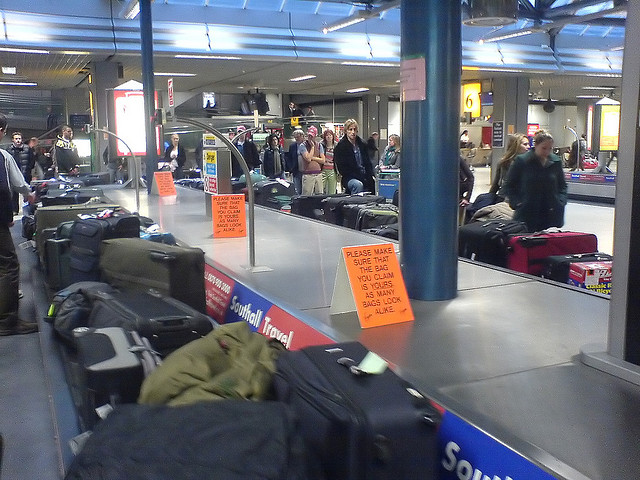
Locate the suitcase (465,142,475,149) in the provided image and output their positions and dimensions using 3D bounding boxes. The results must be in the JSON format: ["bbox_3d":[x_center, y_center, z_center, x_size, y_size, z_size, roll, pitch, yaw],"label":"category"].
[{"bbox_3d":[6.361,-3.995,18.984,0.358,0.265,1.960,1,12,17],"label":"suitcase"}]

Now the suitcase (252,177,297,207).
[{"bbox_3d":[-0.758,-0.885,7.038,0.701,0.534,0.382,-4,6,-33],"label":"suitcase"}]

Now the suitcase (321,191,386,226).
[{"bbox_3d":[0.393,-0.405,5.163,0.533,0.207,0.408,-6,12,-29],"label":"suitcase"}]

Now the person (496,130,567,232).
[{"bbox_3d":[1.994,-0.545,4.140,0.559,0.905,0.249,1,11,18],"label":"person"}]

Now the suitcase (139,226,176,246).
[{"bbox_3d":[-1.311,-0.033,3.600,0.193,0.207,0.110,2,12,-1],"label":"suitcase"}]

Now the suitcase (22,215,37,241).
[{"bbox_3d":[-4.034,-0.165,6.216,0.208,0.348,0.357,2,2,-33],"label":"suitcase"}]

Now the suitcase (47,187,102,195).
[{"bbox_3d":[-3.377,-0.644,5.840,0.329,0.101,0.368,2,5,18],"label":"suitcase"}]

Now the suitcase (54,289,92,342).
[{"bbox_3d":[-1.479,0.437,2.687,0.106,0.307,0.226,14,-7,-41],"label":"suitcase"}]

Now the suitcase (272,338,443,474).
[{"bbox_3d":[0.081,0.484,1.308,0.388,0.238,0.487,-5,11,-13],"label":"suitcase"}]

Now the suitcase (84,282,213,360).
[{"bbox_3d":[-0.795,0.448,2.522,0.402,0.233,0.689,-3,6,-12],"label":"suitcase"}]

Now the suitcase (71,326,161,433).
[{"bbox_3d":[-0.771,0.519,1.701,0.213,0.404,0.290,-1,34,-27],"label":"suitcase"}]

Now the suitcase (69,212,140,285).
[{"bbox_3d":[-1.783,0.111,3.629,0.396,0.635,0.494,11,13,-4],"label":"suitcase"}]

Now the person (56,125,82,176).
[{"bbox_3d":[-5.882,-2.082,10.419,0.472,1.108,2.683,-8,12,-28],"label":"person"}]

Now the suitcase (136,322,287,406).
[{"bbox_3d":[-0.416,0.492,1.754,0.527,0.189,0.416,-29,-16,15],"label":"suitcase"}]

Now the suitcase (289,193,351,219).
[{"bbox_3d":[0.001,-0.456,5.809,0.595,0.226,0.353,-4,8,-16],"label":"suitcase"}]

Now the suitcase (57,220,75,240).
[{"bbox_3d":[-2.138,-0.083,3.769,0.127,0.147,0.142,9,-2,38],"label":"suitcase"}]

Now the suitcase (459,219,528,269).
[{"bbox_3d":[1.364,0.015,3.642,0.481,0.446,0.450,2,1,-43],"label":"suitcase"}]

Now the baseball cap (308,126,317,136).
[{"bbox_3d":[-0.143,-2.010,8.310,0.143,0.155,0.280,-3,11,-1],"label":"baseball cap"}]

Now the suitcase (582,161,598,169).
[{"bbox_3d":[7.535,-2.099,12.500,0.278,0.185,0.806,2,12,23],"label":"suitcase"}]

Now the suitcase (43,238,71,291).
[{"bbox_3d":[-2.194,0.200,3.854,0.206,0.385,0.226,-4,16,-24],"label":"suitcase"}]

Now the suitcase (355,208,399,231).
[{"bbox_3d":[0.556,-0.243,4.378,0.262,0.107,0.265,-3,8,-28],"label":"suitcase"}]

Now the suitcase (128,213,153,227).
[{"bbox_3d":[-1.668,-0.225,4.182,0.158,0.158,0.225,-5,16,-23],"label":"suitcase"}]

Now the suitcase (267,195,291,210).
[{"bbox_3d":[-0.573,-0.606,6.642,0.221,0.151,0.298,-6,11,-37],"label":"suitcase"}]

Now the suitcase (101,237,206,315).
[{"bbox_3d":[-1.161,0.274,3.055,0.850,0.574,0.341,9,13,35],"label":"suitcase"}]

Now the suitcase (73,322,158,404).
[{"bbox_3d":[-0.845,0.470,1.848,0.261,0.288,0.374,-6,23,-26],"label":"suitcase"}]

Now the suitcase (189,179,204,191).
[{"bbox_3d":[-2.166,-0.959,7.885,0.238,0.092,0.708,-6,12,-16],"label":"suitcase"}]

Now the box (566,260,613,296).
[{"bbox_3d":[1.815,0.268,2.908,0.296,0.206,0.180,-3,6,-4],"label":"box"}]

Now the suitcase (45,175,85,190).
[{"bbox_3d":[-4.190,-0.954,7.399,0.597,0.215,0.650,2,11,7],"label":"suitcase"}]
